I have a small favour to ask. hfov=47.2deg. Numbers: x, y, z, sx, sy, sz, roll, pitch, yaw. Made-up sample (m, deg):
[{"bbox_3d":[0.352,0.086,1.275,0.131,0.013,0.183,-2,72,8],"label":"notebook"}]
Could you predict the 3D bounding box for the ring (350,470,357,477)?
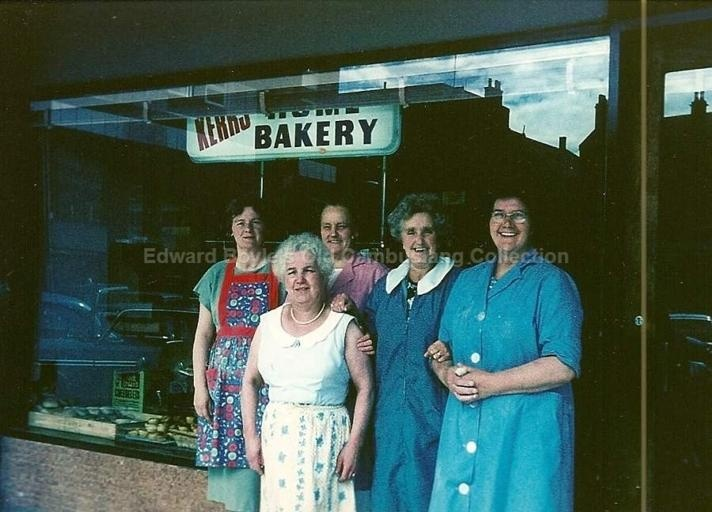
[{"bbox_3d":[-0.015,1.364,5.103,0.030,0.058,0.077,5,-19,-26],"label":"ring"}]
